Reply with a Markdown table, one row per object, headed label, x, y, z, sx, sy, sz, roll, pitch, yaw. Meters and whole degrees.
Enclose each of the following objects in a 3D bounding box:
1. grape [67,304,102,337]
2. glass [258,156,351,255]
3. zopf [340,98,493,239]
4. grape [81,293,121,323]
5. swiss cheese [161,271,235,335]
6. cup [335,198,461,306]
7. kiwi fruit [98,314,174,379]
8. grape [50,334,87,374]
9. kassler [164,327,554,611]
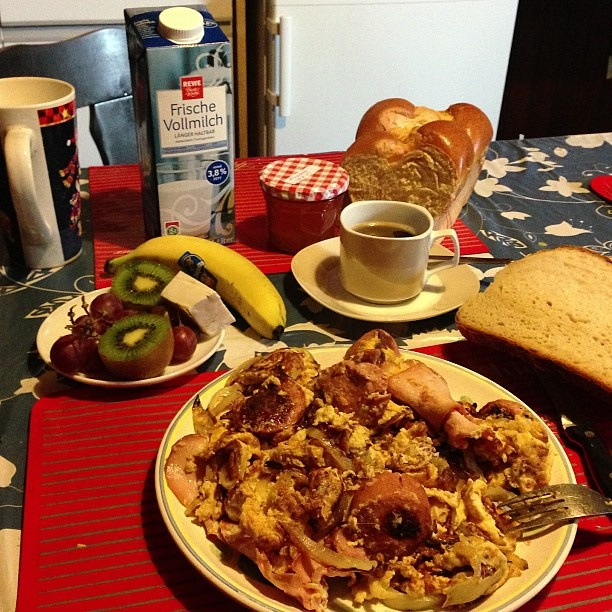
| label | x | y | z | sx | sy | sz | roll | pitch | yaw |
| --- | --- | --- | --- | --- | --- | --- | --- | --- | --- |
| grape | -0.353 | 0.031 | 0.947 | 0.058 | 0.027 | 0.059 | -5 | 48 | -12 |
| glass | 0.001 | -0.220 | 1.316 | 0.192 | 0.136 | 0.174 | -15 | 27 | -4 |
| zopf | 0.286 | -0.348 | 1.472 | 0.383 | 0.221 | 0.321 | 13 | 63 | 16 |
| grape | -0.339 | 0.002 | 0.999 | 0.069 | 0.043 | 0.046 | 5 | 16 | -24 |
| swiss cheese | -0.186 | -0.003 | 1.008 | 0.114 | 0.080 | 0.062 | 37 | 74 | 16 |
| cup | 0.181 | -0.096 | 1.135 | 0.245 | 0.133 | 0.159 | 8 | 35 | 10 |
| kiwi fruit | -0.254 | 0.063 | 0.941 | 0.116 | 0.065 | 0.105 | -30 | 45 | -6 |
| grape | -0.357 | 0.071 | 0.889 | 0.051 | 0.054 | 0.050 | -2 | 5 | 25 |
| kassler | 0.072 | 0.208 | 0.706 | 0.348 | 0.124 | 0.311 | -22 | 47 | -32 |
